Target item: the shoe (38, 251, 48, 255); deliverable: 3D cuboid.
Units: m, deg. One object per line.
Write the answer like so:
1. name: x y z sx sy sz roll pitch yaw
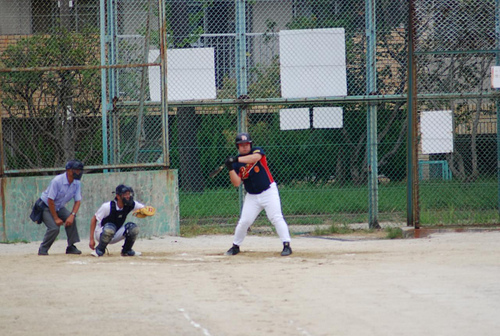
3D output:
1. shoe: -3.927 1.606 17.594 0.187 0.075 0.165 0 -3 -17

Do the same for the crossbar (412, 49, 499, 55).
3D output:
1. crossbar: 4.373 -2.416 19.581 1.857 0.083 0.317 -1 -3 -5

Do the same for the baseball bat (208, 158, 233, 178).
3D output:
1. baseball bat: -0.659 0.014 21.258 0.559 0.161 0.150 -41 -30 14

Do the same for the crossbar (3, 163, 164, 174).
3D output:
1. crossbar: -3.440 0.011 19.308 3.277 0.184 0.435 -1 -3 1

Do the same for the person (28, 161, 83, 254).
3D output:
1. person: -3.673 0.764 17.763 0.915 1.763 0.458 0 -3 -15

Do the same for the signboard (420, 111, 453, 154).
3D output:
1. signboard: 3.998 -0.771 19.717 0.803 1.131 0.039 -1 2 5

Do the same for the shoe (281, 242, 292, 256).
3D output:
1. shoe: 0.689 1.508 17.341 0.198 0.252 0.182 -1 -3 1

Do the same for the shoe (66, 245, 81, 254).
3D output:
1. shoe: -3.393 1.575 17.843 0.276 0.132 0.132 1 -2 6

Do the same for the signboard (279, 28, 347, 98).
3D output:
1. signboard: 1.348 -2.220 19.753 1.400 1.443 0.133 -1 -3 -3

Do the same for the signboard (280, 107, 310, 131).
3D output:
1. signboard: 0.985 -1.061 20.103 0.640 0.434 0.202 -1 -3 2

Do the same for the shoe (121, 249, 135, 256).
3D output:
1. shoe: -2.318 1.595 17.577 0.242 0.112 0.099 0 5 -2

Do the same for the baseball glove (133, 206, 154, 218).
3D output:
1. baseball glove: -2.009 0.840 17.658 0.258 0.116 0.207 -5 -12 6

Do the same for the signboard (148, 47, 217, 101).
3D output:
1. signboard: -1.448 -1.974 19.755 1.402 1.120 0.405 -1 -3 -4

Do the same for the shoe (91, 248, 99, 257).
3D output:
1. shoe: -2.926 1.593 17.470 0.107 0.142 0.308 0 -3 -24

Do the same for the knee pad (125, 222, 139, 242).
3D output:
1. knee pad: -2.235 1.212 17.539 0.249 0.359 0.197 -1 -3 -7

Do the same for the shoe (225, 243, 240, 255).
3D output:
1. shoe: -0.313 1.526 17.542 0.291 0.218 0.159 0 -3 -21

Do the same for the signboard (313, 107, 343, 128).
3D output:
1. signboard: 1.692 -1.080 20.034 0.624 0.479 0.016 -1 3 15
